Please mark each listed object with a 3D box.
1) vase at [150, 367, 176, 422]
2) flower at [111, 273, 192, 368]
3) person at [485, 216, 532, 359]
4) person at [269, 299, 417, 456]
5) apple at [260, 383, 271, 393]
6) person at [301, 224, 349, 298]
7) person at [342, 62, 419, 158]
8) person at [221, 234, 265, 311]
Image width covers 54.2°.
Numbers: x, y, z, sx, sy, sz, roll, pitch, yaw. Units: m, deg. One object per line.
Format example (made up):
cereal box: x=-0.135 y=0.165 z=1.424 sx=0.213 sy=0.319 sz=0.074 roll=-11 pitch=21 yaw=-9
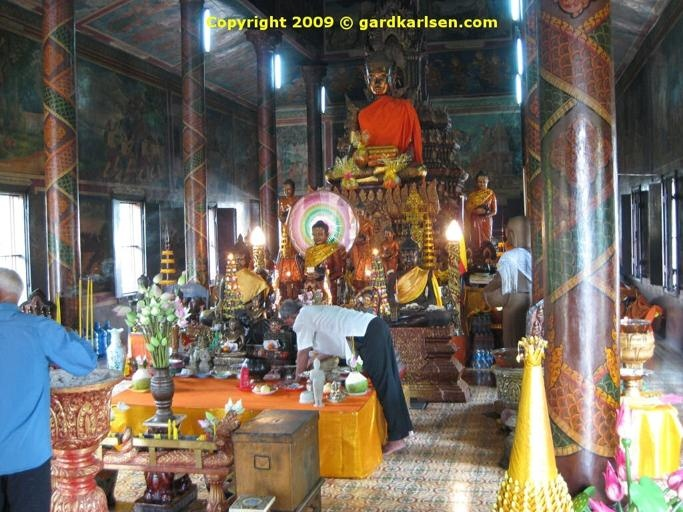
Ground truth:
vase: x=-1.267 y=0.980 z=4.738 sx=0.180 sy=0.413 sz=0.166 roll=-7 pitch=8 yaw=-32
flower: x=-1.282 y=0.500 z=4.745 sx=0.417 sy=0.627 sz=0.439 roll=9 pitch=-17 yaw=-43
person: x=1.613 y=0.260 z=6.468 sx=0.428 sy=1.263 sz=0.740 roll=-3 pitch=-4 yaw=6
person: x=0.022 y=0.958 z=5.469 sx=0.994 sy=1.356 sz=0.559 roll=-8 pitch=2 yaw=8
apple: x=-0.587 y=1.031 z=5.195 sx=0.070 sy=0.058 sz=0.187 roll=-3 pitch=-5 yaw=-5
person: x=-0.182 y=0.063 z=7.433 sx=0.454 sy=0.936 sz=0.520 roll=-2 pitch=-4 yaw=-7
person: x=0.672 y=-2.011 z=9.458 sx=0.787 sy=1.412 sz=0.556 roll=0 pitch=-4 yaw=-32
person: x=-1.017 y=0.141 z=7.238 sx=0.482 sy=0.883 sz=0.544 roll=-6 pitch=32 yaw=-10
